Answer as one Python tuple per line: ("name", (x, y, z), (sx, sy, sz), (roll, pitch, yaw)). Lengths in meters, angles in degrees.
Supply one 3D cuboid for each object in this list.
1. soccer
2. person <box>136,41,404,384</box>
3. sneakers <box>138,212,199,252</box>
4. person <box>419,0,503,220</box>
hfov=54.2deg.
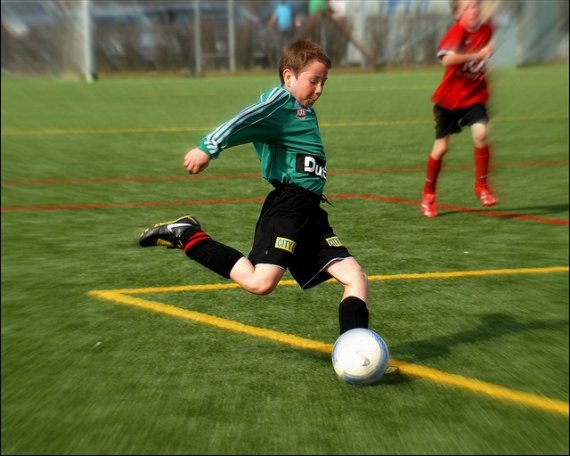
("soccer", (0.280, 0.491, 2.078), (0.202, 0.195, 0.165), (-2, 31, 5))
("person", (-0.012, -0.093, 2.655), (1.439, 1.394, 1.119), (6, 6, 31))
("sneakers", (-0.581, 0.021, 2.937), (0.429, 0.140, 0.155), (-8, 53, 36))
("person", (1.309, -0.796, 3.959), (0.543, 1.611, 0.873), (4, 33, 15))
